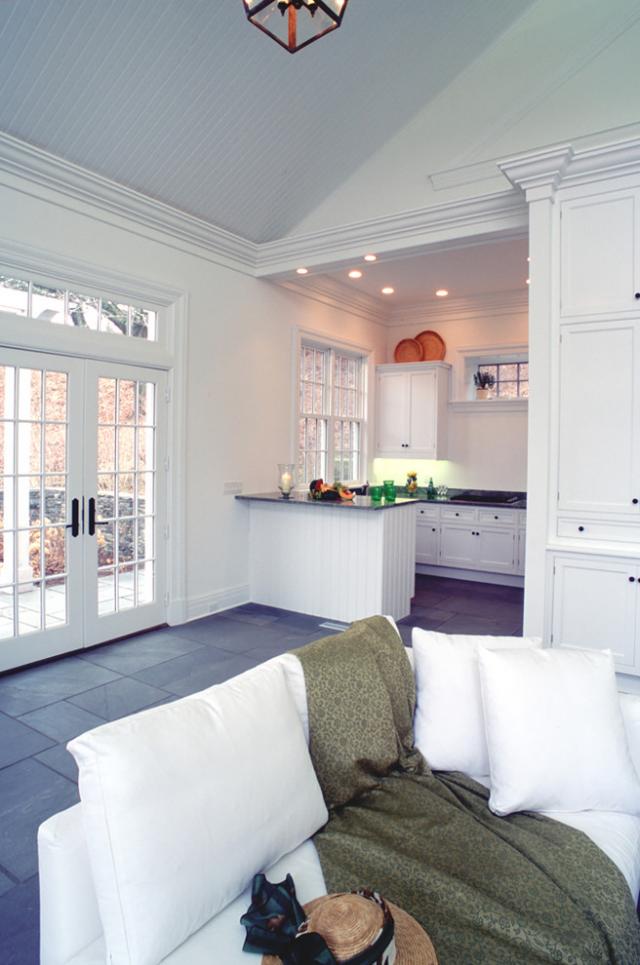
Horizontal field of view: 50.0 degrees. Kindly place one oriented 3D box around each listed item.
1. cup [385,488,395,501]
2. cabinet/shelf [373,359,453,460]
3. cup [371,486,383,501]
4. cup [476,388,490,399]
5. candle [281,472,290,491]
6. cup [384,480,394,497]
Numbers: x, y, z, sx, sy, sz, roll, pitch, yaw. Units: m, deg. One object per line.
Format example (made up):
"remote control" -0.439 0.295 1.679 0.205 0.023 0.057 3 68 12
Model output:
"cup" 0.493 0.082 4.875 0.065 0.096 0.094 4 0 7
"cabinet/shelf" 1.011 -0.781 7.302 1.036 1.383 0.389 -1 -2 38
"cup" 0.383 0.078 4.785 0.086 0.104 0.088 0 0 0
"cup" 1.685 -0.930 7.132 0.108 0.111 0.110 -1 10 0
"candle" -0.265 -0.009 5.215 0.081 0.155 0.069 4 -1 0
"cup" 0.498 0.052 4.934 0.092 0.112 0.090 0 0 0
